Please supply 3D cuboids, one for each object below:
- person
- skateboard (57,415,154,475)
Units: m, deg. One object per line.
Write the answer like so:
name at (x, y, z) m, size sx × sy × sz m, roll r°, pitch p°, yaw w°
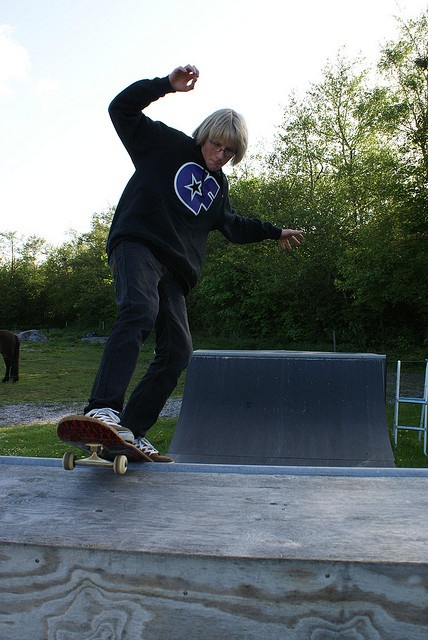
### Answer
person at (-0.142, -0.264, 2.207) m, size 0.457 × 1.420 × 1.109 m, roll 0°, pitch -6°, yaw 34°
skateboard at (-0.351, 0.393, 1.586) m, size 0.125 × 0.084 × 0.394 m, roll 2°, pitch -26°, yaw 9°
